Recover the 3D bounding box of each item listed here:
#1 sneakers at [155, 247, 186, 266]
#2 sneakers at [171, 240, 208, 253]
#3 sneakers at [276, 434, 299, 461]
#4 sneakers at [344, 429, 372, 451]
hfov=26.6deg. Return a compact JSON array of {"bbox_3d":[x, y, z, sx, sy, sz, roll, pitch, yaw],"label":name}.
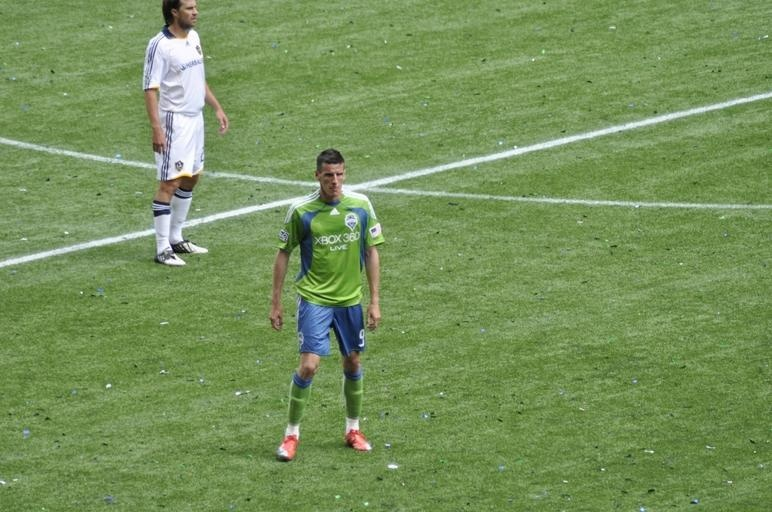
[{"bbox_3d":[-2.488,0.039,18.800,0.325,0.128,0.188,7,9,32],"label":"sneakers"},{"bbox_3d":[-2.280,-0.072,19.071,0.453,0.148,0.154,2,19,-4],"label":"sneakers"},{"bbox_3d":[-0.997,1.977,16.487,0.153,0.122,0.319,8,19,7],"label":"sneakers"},{"bbox_3d":[-0.280,1.899,16.582,0.159,0.110,0.291,-25,31,-37],"label":"sneakers"}]
